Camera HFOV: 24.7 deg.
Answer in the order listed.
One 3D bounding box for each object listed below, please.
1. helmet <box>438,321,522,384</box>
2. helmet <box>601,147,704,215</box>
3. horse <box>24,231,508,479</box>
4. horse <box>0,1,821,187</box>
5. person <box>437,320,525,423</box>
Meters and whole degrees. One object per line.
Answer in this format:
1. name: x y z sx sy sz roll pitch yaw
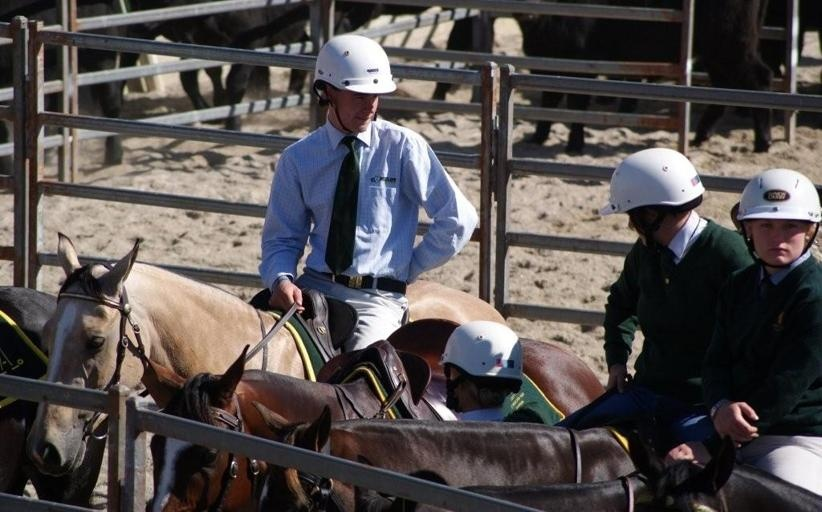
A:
1. helmet: 0.518 0.678 13.307 0.491 0.347 0.380 -2 -4 35
2. helmet: 1.719 -0.543 13.406 0.678 0.328 0.434 1 0 8
3. horse: -1.282 0.528 13.242 3.855 1.930 0.898 -6 14 -30
4. horse: -0.050 -1.459 17.080 9.155 1.256 0.778 8 -11 6
5. person: 0.517 0.852 13.426 0.594 0.683 0.609 8 -3 -28
